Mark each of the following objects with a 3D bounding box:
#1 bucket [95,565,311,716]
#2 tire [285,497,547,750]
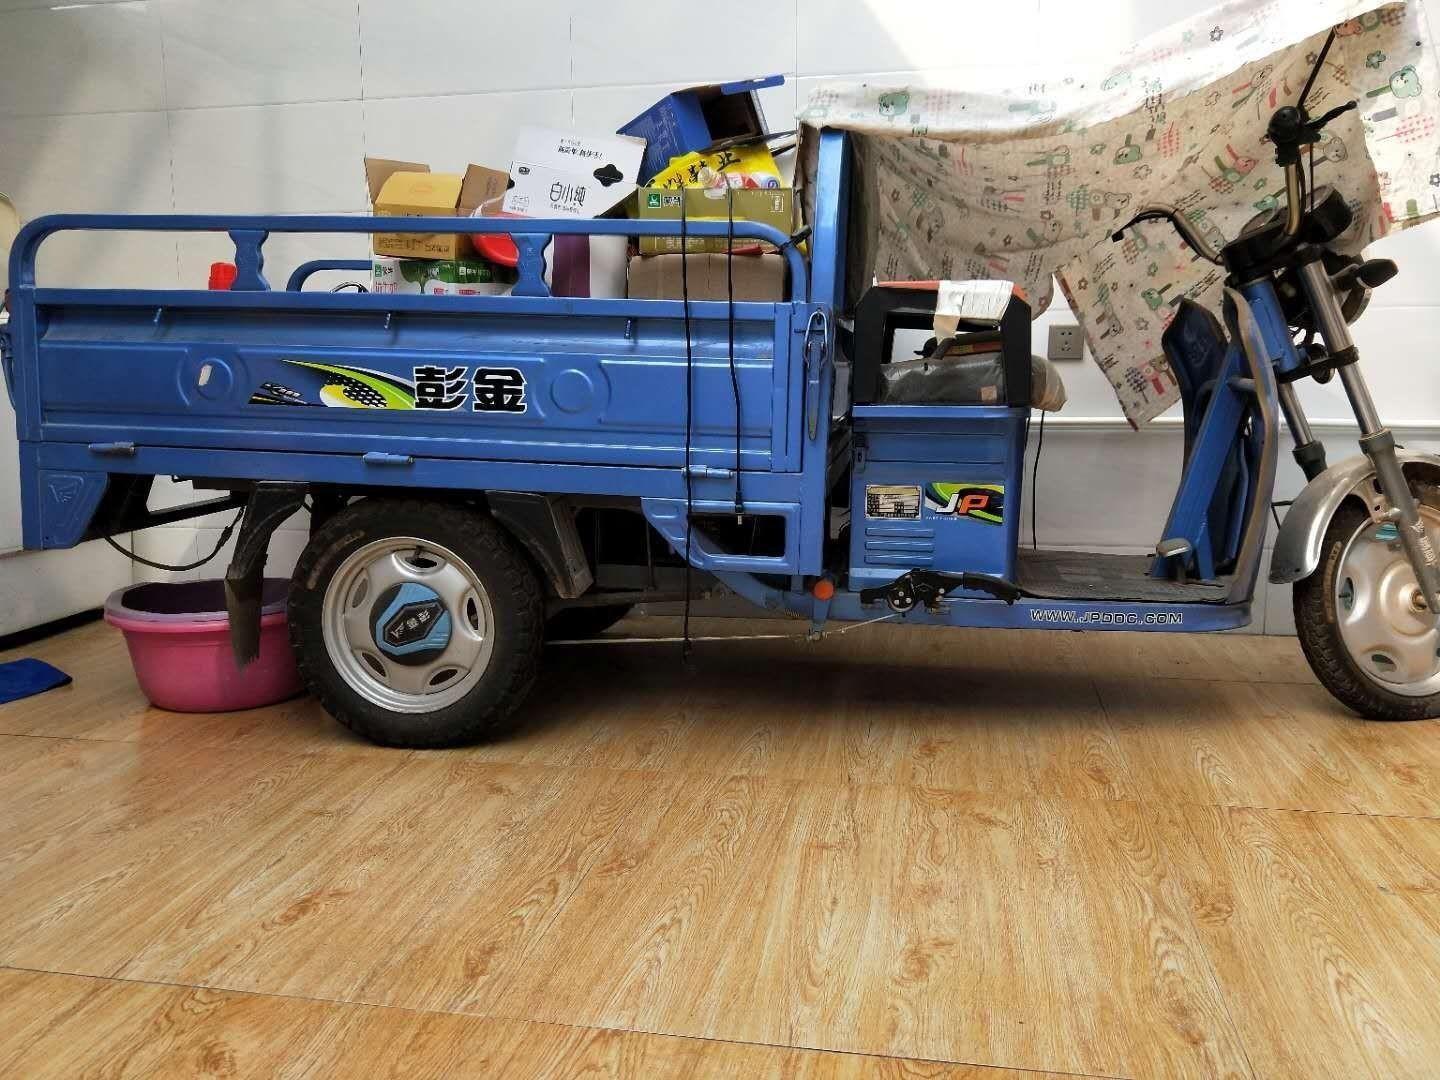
[{"bbox_3d":[-1.897,0.396,3.924,0.609,0.303,0.563,-1,4,0],"label":"bucket"},{"bbox_3d":[-0.967,0.269,3.510,0.791,0.803,0.276,-2,2,7],"label":"tire"}]
